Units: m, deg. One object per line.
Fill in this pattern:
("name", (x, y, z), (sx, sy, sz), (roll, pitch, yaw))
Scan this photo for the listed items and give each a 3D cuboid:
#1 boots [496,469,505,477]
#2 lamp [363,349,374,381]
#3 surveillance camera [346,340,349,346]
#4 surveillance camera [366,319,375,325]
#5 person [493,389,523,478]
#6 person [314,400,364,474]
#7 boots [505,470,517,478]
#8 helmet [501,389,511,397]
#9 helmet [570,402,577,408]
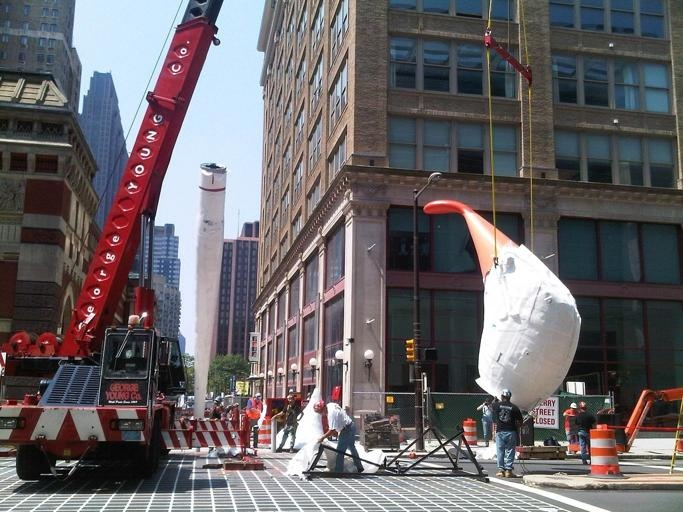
("boots", (4.628, 6.195, 23.143), (0.247, 0.228, 0.504), (0, -9, 5))
("lamp", (1.296, 4.964, 37.018), (0.530, 1.502, 0.795), (1, -9, 2))
("surveillance camera", (0.296, 4.007, 37.767), (0.164, 0.302, 0.319), (2, 2, 20))
("surveillance camera", (1.385, 3.016, 37.755), (0.307, 0.279, 0.078), (-1, -10, -17))
("person", (4.864, 5.103, 23.334), (0.807, 2.452, 0.633), (0, -9, 10))
("person", (-0.094, 5.050, 22.514), (1.553, 1.914, 0.942), (10, -13, -43))
("boots", (4.944, 6.212, 23.111), (0.154, 0.208, 0.496), (-5, -9, 42))
("helmet", (4.831, 3.968, 23.568), (0.248, 0.261, 0.327), (11, 9, 38))
("helmet", (9.245, 5.811, 31.791), (0.269, 0.244, 0.368), (-1, -18, 7))
